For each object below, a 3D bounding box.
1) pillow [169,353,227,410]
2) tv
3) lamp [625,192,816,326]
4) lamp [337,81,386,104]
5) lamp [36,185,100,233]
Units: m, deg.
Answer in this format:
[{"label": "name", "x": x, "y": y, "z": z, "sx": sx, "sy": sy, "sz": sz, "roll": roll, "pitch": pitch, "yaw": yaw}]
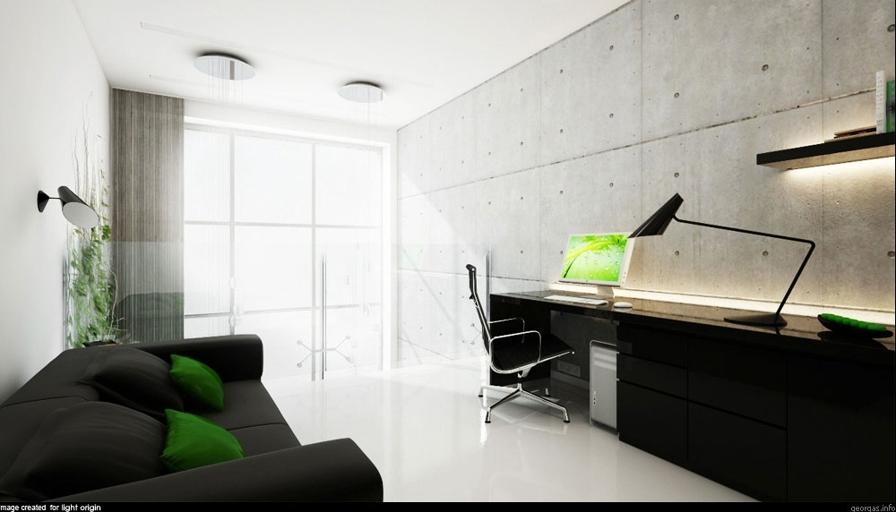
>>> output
[{"label": "pillow", "x": -2.237, "y": 1.045, "z": 4.942, "sx": 0.438, "sy": 0.342, "sz": 0.965, "roll": 4, "pitch": 7, "yaw": -28}, {"label": "tv", "x": 1.377, "y": 0.034, "z": 5.555, "sx": 0.885, "sy": 0.596, "sz": 0.244, "roll": 2, "pitch": 23, "yaw": -33}, {"label": "lamp", "x": 2.286, "y": 0.030, "z": 4.795, "sx": 1.587, "sy": 0.999, "sz": 0.399, "roll": 6, "pitch": -1, "yaw": 6}, {"label": "lamp", "x": -1.087, "y": -2.056, "z": 7.038, "sx": 0.565, "sy": 0.162, "sz": 0.590, "roll": -1, "pitch": 5, "yaw": -9}, {"label": "lamp", "x": -3.180, "y": -0.413, "z": 4.722, "sx": 0.393, "sy": 0.339, "sz": 0.453, "roll": -2, "pitch": 5, "yaw": -25}]
